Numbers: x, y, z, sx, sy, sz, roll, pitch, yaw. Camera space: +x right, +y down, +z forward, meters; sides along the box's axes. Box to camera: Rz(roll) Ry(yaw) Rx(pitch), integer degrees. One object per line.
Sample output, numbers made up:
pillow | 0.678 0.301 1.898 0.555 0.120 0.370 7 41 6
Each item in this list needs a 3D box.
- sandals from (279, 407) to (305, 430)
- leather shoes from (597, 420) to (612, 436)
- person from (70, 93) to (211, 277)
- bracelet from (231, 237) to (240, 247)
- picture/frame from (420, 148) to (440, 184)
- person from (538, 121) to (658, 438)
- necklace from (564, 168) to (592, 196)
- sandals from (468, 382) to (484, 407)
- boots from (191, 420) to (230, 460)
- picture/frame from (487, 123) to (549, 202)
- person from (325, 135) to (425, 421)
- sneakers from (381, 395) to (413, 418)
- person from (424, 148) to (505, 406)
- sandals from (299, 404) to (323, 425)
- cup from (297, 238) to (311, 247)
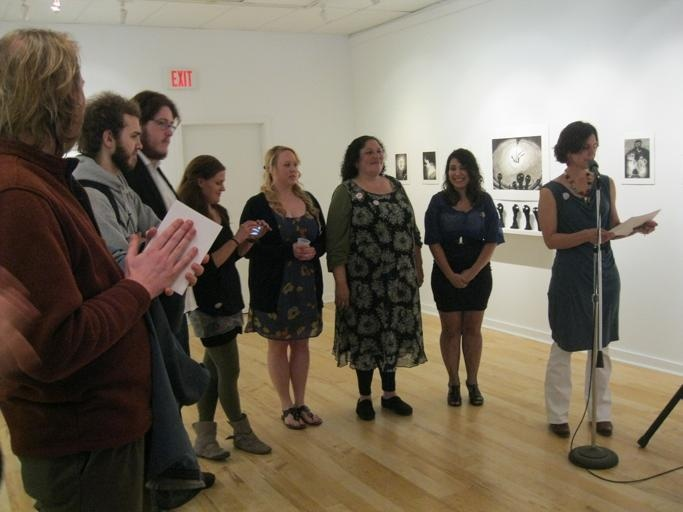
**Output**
sandals | -0.355 1.176 3.788 0.084 0.089 0.212 0 -2 -18
leather shoes | 1.749 1.148 3.474 0.060 0.060 0.127 0 -7 -2
person | -0.794 -0.221 2.027 0.462 0.791 0.473 2 11 11
bracelet | -0.619 -0.084 3.024 0.033 0.039 0.070 -2 8 3
picture/frame | 1.126 -1.150 6.628 0.025 0.586 0.402 -6 9 -26
person | 1.629 0.152 3.477 0.547 2.057 0.436 -6 8 -28
necklace | 1.540 -0.491 3.407 0.137 0.197 0.064 4 5 7
sandals | 1.045 1.068 4.046 0.078 0.102 0.224 -5 5 -3
boots | -0.850 1.191 3.458 0.332 0.252 0.144 0 0 37
picture/frame | 1.848 -0.978 5.424 0.037 1.101 0.940 -4 6 -31
person | 0.256 0.153 3.922 0.700 2.074 0.387 -2 7 4
sneakers | 0.410 1.138 4.010 0.103 0.098 0.224 -11 11 -40
person | 0.920 0.164 4.046 0.547 1.955 0.328 0 7 18
sandals | -0.235 1.160 3.851 0.095 0.083 0.192 -5 5 -44
cup | -0.274 -0.099 3.655 0.080 0.059 0.111 -3 8 -5
